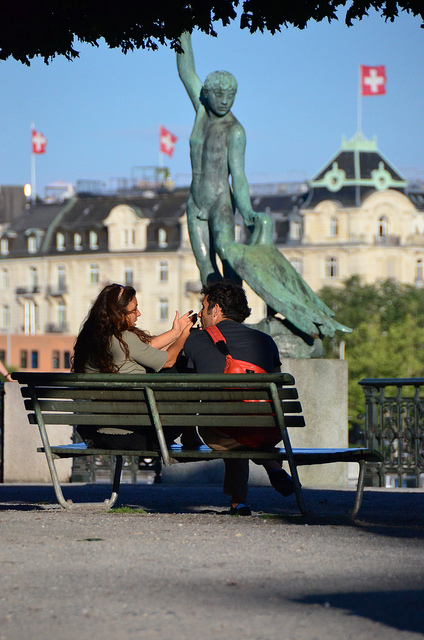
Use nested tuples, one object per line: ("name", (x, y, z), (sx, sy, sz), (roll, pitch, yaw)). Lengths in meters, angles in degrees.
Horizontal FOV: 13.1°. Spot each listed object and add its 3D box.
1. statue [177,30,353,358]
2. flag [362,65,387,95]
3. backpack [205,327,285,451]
("statue", (0.246, -0.875, 12.540), (0.636, 2.212, 1.405), (0, 2, -36))
("flag", (5.486, -8.278, 63.585), (0.780, 0.919, 1.102), (1, 1, 6))
("backpack", (0.152, 0.328, 8.458), (0.360, 0.566, 0.611), (1, 1, -1))
